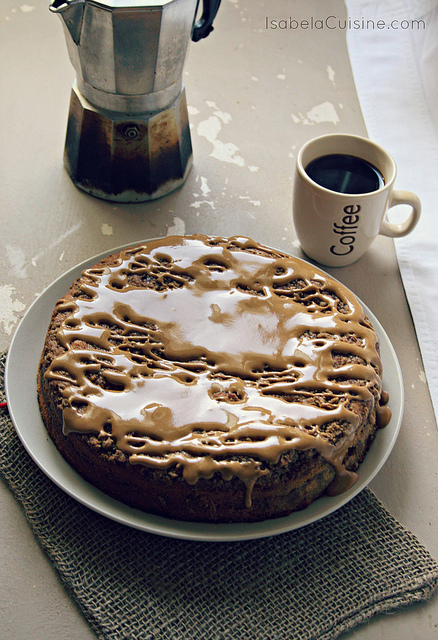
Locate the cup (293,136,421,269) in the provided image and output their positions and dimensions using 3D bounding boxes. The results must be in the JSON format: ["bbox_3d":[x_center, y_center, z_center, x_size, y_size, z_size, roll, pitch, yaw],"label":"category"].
[{"bbox_3d":[0.215,-0.167,1.083,0.228,0.145,0.128,13,51,9],"label":"cup"}]

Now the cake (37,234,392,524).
[{"bbox_3d":[-0.010,0.077,0.827,0.414,0.142,0.259,2,51,-5],"label":"cake"}]
